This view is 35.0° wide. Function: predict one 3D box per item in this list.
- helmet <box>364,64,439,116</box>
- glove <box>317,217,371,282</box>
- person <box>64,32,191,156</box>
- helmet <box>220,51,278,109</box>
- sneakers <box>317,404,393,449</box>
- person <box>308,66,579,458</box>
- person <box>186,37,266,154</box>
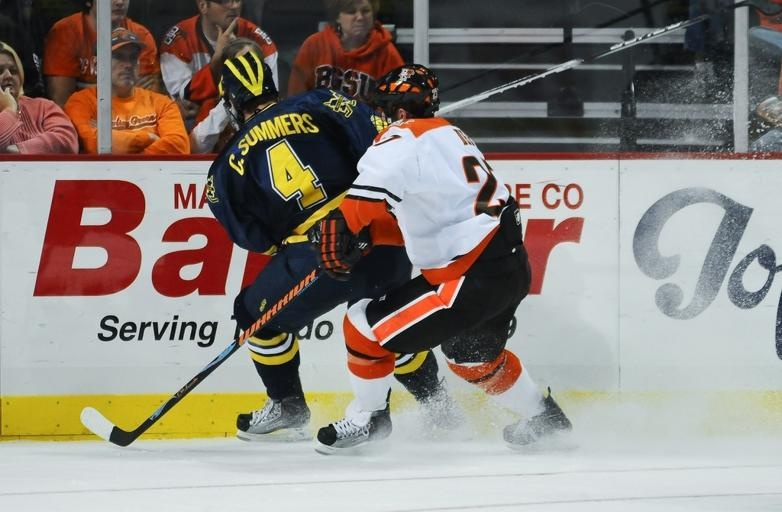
[{"bbox_3d":[0.061,-0.899,6.812,0.346,0.241,0.257,-12,13,8],"label":"helmet"},{"bbox_3d":[-0.269,-0.064,6.716,0.299,0.364,0.151,-2,14,-3],"label":"glove"},{"bbox_3d":[-1.649,-1.010,7.603,0.545,0.727,0.401,-22,3,-21],"label":"person"},{"bbox_3d":[-0.841,-0.995,7.172,0.292,0.319,0.338,-23,16,-20],"label":"helmet"},{"bbox_3d":[-0.214,0.941,7.030,0.527,0.236,0.169,-8,20,-15],"label":"sneakers"},{"bbox_3d":[0.238,0.053,6.829,1.294,2.090,0.476,1,14,6],"label":"person"},{"bbox_3d":[-1.066,-0.977,7.626,0.286,0.699,0.540,26,20,28],"label":"person"}]
